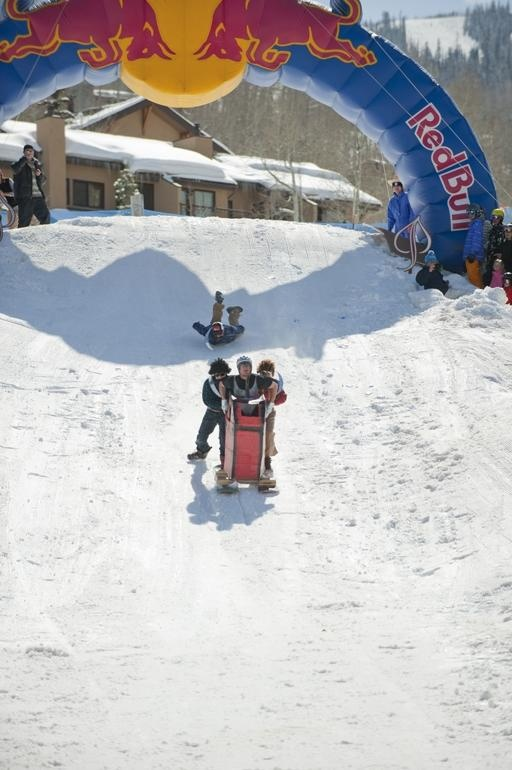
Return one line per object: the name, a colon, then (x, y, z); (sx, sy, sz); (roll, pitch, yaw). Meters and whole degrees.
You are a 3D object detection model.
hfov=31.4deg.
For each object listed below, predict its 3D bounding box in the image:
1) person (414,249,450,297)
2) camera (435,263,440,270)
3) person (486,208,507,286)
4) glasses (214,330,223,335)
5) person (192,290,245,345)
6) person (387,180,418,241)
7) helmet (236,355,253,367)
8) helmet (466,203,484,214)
person: (3.167, -1.980, 16.487); (0.558, 0.702, 0.897); (-1, 14, -3)
camera: (3.243, -2.125, 16.463); (0.091, 0.107, 0.037); (-23, 3, -35)
person: (4.258, -2.554, 16.547); (0.380, 1.534, 0.426); (8, -13, 7)
glasses: (-0.587, -0.785, 13.968); (0.092, 0.082, 0.175); (3, 14, 13)
person: (-0.580, -0.903, 14.420); (0.749, 0.461, 1.193); (3, 23, 2)
person: (2.802, -3.519, 18.176); (0.421, 1.052, 0.760); (-2, 15, -5)
helmet: (-0.141, -0.250, 9.534); (0.134, 0.133, 0.160); (-5, 2, 1)
helmet: (4.055, -3.280, 17.092); (0.208, 0.184, 0.242); (-4, -19, 10)
